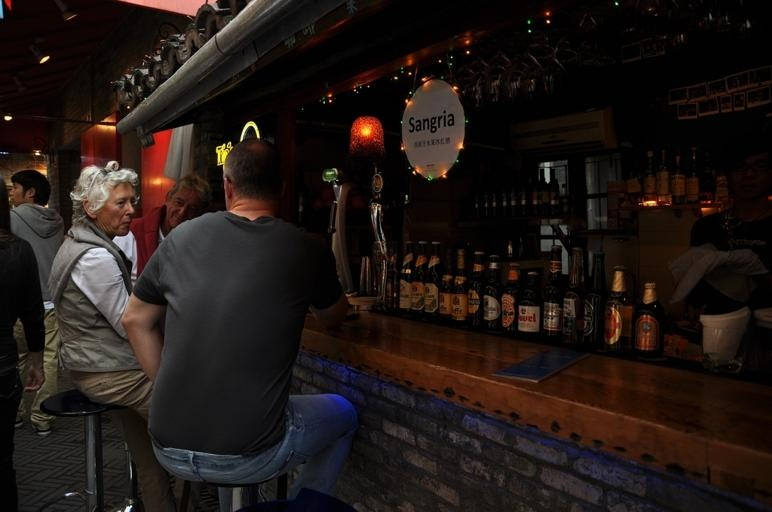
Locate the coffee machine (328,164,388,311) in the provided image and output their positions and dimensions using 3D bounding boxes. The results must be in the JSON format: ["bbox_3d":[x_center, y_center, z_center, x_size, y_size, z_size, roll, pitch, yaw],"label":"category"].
[{"bbox_3d":[-0.197,-0.108,3.685,0.457,1.049,0.270,11,-29,-25],"label":"coffee machine"}]

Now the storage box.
[{"bbox_3d":[1.331,0.052,2.649,0.522,0.520,0.279,6,-4,-32],"label":"storage box"}]

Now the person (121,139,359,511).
[{"bbox_3d":[-0.680,0.411,2.418,0.978,1.230,0.466,-5,12,-17],"label":"person"}]

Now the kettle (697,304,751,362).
[{"bbox_3d":[1.501,0.351,2.341,0.224,0.231,0.194,-2,-5,6],"label":"kettle"}]
